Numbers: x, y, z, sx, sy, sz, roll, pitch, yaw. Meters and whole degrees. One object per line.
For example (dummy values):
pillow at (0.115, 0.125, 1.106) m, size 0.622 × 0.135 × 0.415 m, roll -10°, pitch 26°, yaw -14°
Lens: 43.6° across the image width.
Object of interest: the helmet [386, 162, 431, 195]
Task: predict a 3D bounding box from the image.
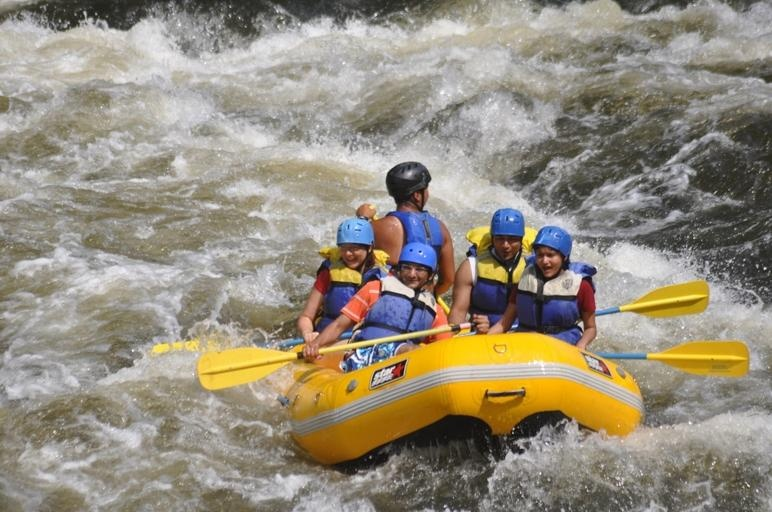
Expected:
helmet at (0.301, -1.025, 12.605) m, size 0.400 × 0.302 × 0.506 m, roll 4°, pitch 4°, yaw 34°

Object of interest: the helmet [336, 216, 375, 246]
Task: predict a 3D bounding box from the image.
helmet at (-0.362, -0.283, 12.179) m, size 0.468 × 0.454 × 0.433 m, roll -2°, pitch 39°, yaw -1°

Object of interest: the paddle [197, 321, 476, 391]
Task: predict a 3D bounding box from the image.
paddle at (-0.496, 1.225, 11.641) m, size 3.706 × 0.485 × 0.274 m, roll -10°, pitch -3°, yaw 7°

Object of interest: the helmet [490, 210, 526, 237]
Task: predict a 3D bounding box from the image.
helmet at (1.534, -0.413, 11.984) m, size 0.290 × 0.403 × 0.293 m, roll 3°, pitch 74°, yaw 10°

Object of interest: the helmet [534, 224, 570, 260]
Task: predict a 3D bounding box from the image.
helmet at (2.070, -0.171, 11.766) m, size 0.334 × 0.445 × 0.406 m, roll 16°, pitch 79°, yaw 38°
